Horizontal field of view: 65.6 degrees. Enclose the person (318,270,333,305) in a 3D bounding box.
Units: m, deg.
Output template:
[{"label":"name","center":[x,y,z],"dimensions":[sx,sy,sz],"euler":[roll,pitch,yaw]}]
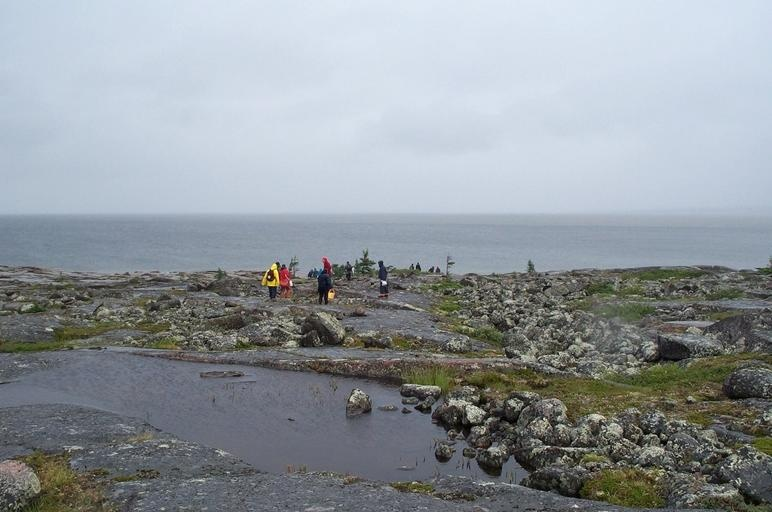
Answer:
[{"label":"person","center":[-5.211,2.508,50.433],"dimensions":[0.887,3.123,1.459],"euler":[-2,13,-14]}]
